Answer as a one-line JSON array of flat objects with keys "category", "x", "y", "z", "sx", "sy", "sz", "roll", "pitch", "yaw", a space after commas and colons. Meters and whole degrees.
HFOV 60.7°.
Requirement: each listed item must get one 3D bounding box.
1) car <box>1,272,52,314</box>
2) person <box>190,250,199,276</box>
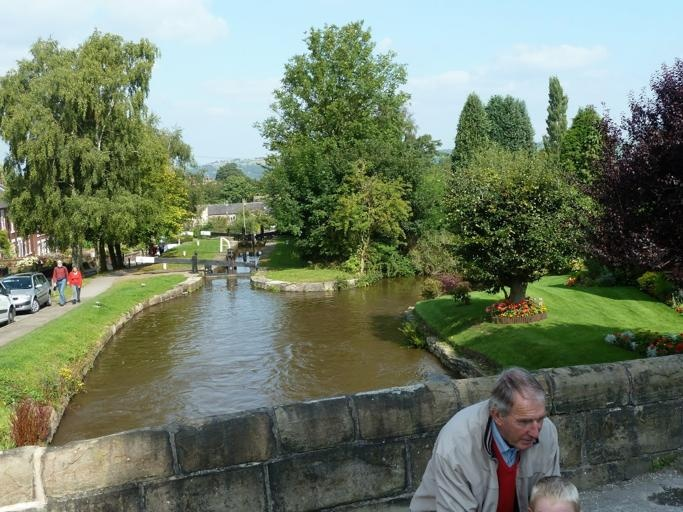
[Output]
[{"category": "car", "x": -14.534, "y": 1.687, "z": 26.965, "sx": 1.497, "sy": 1.097, "sz": 2.413, "roll": -2, "pitch": -3, "yaw": -3}, {"category": "person", "x": -12.064, "y": 0.568, "z": 47.858, "sx": 0.525, "sy": 1.388, "sz": 2.766, "roll": -3, "pitch": 6, "yaw": -15}]
